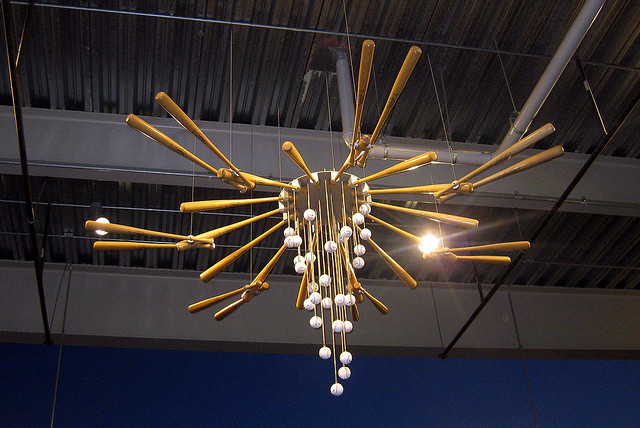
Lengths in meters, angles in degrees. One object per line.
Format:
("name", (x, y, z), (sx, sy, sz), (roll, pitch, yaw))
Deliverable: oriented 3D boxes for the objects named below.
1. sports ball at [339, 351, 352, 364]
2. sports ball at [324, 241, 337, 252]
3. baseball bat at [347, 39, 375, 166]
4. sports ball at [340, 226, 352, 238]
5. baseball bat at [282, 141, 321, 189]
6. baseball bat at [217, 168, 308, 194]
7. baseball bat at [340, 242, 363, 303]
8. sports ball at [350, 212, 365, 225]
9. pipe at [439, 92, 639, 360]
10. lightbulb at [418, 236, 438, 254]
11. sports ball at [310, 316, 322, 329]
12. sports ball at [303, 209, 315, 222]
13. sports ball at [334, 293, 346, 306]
("sports ball", (0.322, 1.683, 6.118), (0.151, 0.170, 0.160), (-2, -9, 0))
("sports ball", (0.122, 0.368, 5.926), (0.122, 0.100, 0.162), (4, -49, -5))
("baseball bat", (0.408, -1.100, 5.221), (0.164, 1.415, 0.165), (8, -19, 3))
("sports ball", (0.300, 0.228, 6.014), (0.112, 0.100, 0.216), (3, -49, -4))
("baseball bat", (-0.191, -0.539, 5.830), (0.142, 0.179, 0.797), (-39, -49, 1))
("baseball bat", (-0.785, -0.479, 7.296), (1.269, 0.202, 0.161), (16, -41, -30))
("baseball bat", (0.335, 0.623, 6.179), (0.175, 0.834, 0.102), (-7, -15, -43))
("sports ball", (0.443, 0.061, 6.033), (0.120, 0.120, 0.169), (0, -48, -2))
("pipe", (4.221, 0.226, 10.206), (0.434, 0.452, 6.943), (28, -62, -11))
("lightbulb", (1.281, 0.362, 6.174), (0.186, 0.201, 0.238), (-1, -58, -16))
("sports ball", (-0.042, 1.251, 6.055), (0.131, 0.085, 0.143), (0, -84, -1))
("sports ball", (-0.122, 0.026, 5.968), (0.116, 0.162, 0.186), (2, -48, -3))
("sports ball", (0.227, 0.975, 5.918), (0.092, 0.123, 0.104), (5, -91, 7))
